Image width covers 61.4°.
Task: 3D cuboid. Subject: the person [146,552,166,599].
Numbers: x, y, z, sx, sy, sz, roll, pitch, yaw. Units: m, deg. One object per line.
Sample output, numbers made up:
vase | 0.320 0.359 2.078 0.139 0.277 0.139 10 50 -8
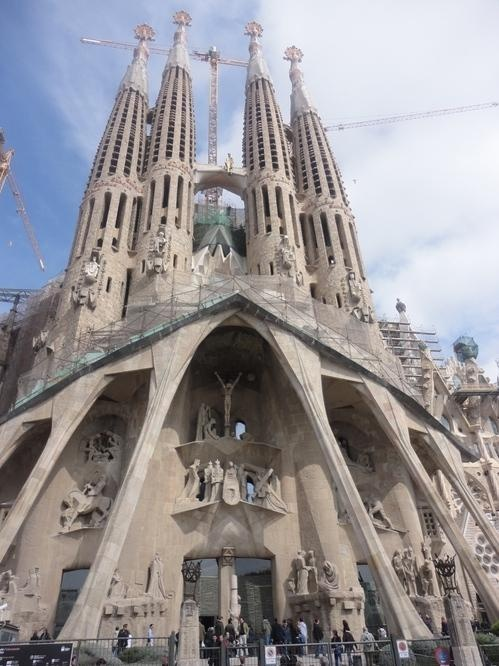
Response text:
person | -3.236 8.483 14.650 0.681 1.558 1.181 3 -39 -10

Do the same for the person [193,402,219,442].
person | -2.110 4.343 20.371 0.843 2.364 1.174 -32 -46 30

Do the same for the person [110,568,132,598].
person | -4.260 8.249 13.755 0.546 0.902 1.037 -1 -39 -4

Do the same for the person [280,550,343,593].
person | 2.352 8.794 15.464 1.501 1.396 0.453 -24 -64 30

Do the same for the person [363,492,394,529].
person | 5.541 7.778 18.428 1.169 1.592 0.677 16 -43 -23

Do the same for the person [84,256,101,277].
person | -8.690 -3.687 23.207 0.742 2.088 0.475 -3 -38 -2
